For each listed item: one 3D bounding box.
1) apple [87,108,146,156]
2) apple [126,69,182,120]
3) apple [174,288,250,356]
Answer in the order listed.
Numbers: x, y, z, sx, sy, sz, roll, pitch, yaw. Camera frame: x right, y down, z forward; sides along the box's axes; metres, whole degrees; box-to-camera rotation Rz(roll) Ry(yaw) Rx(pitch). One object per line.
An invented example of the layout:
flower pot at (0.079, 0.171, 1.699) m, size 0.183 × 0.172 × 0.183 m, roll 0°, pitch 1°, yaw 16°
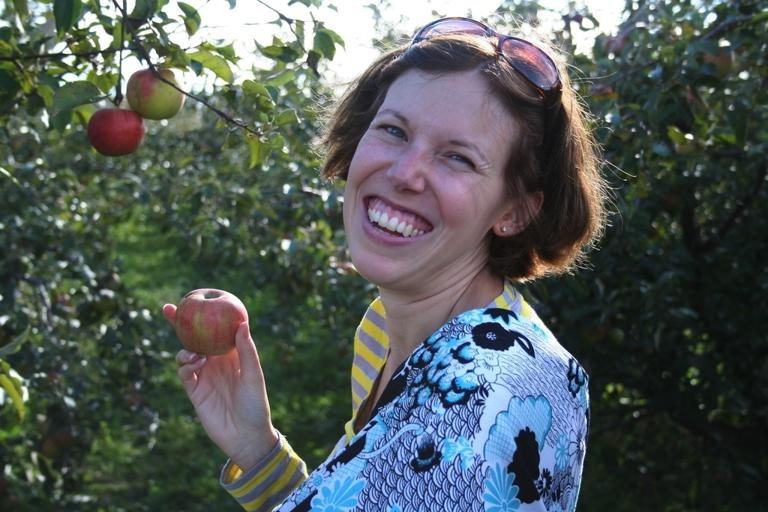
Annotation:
apple at (-1.085, -0.510, 4.854) m, size 0.213 × 0.221 × 0.208 m, roll -9°, pitch -68°, yaw -35°
apple at (-0.917, -0.656, 4.853) m, size 0.203 × 0.217 × 0.217 m, roll -7°, pitch -70°, yaw -16°
apple at (-0.729, 0.276, 4.987) m, size 0.276 × 0.306 × 0.259 m, roll 1°, pitch -80°, yaw -17°
